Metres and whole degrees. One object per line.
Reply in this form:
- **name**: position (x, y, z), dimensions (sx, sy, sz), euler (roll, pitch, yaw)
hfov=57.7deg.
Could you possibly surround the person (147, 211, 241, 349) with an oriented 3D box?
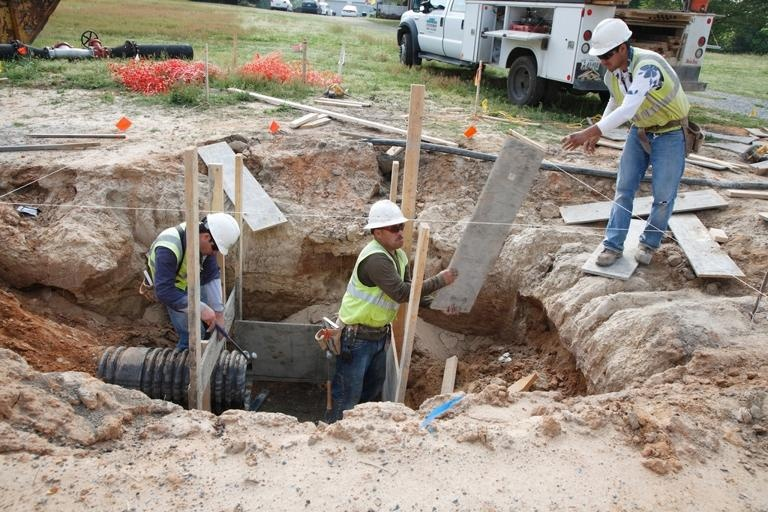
- **person**: position (-2.111, 0.362, 7.842), dimensions (0.933, 1.678, 0.743), euler (-9, 27, -29)

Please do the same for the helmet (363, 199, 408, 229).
- **helmet**: position (-0.006, -0.429, 7.558), dimensions (0.337, 0.185, 0.357), euler (-21, 12, -36)

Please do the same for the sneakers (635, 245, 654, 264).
- **sneakers**: position (3.008, 0.003, 8.069), dimensions (0.136, 0.128, 0.279), euler (15, 52, 32)

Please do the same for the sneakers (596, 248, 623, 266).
- **sneakers**: position (2.641, 0.031, 8.117), dimensions (0.339, 0.140, 0.154), euler (-13, 52, -8)

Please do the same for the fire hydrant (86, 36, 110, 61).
- **fire hydrant**: position (-6.303, -4.570, 15.387), dimensions (0.345, 0.350, 0.603), euler (-11, 27, -32)

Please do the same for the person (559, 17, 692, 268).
- **person**: position (2.723, -1.187, 7.772), dimensions (1.216, 2.680, 0.891), euler (13, 25, 19)

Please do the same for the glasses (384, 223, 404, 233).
- **glasses**: position (0.118, -0.292, 7.514), dimensions (0.134, 0.040, 0.118), euler (9, 18, 36)

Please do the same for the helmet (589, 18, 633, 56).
- **helmet**: position (2.440, -2.361, 7.552), dimensions (0.366, 0.392, 0.318), euler (8, 23, 8)

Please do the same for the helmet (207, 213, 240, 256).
- **helmet**: position (-1.788, -0.242, 7.724), dimensions (0.344, 0.427, 0.296), euler (-2, 24, -15)
